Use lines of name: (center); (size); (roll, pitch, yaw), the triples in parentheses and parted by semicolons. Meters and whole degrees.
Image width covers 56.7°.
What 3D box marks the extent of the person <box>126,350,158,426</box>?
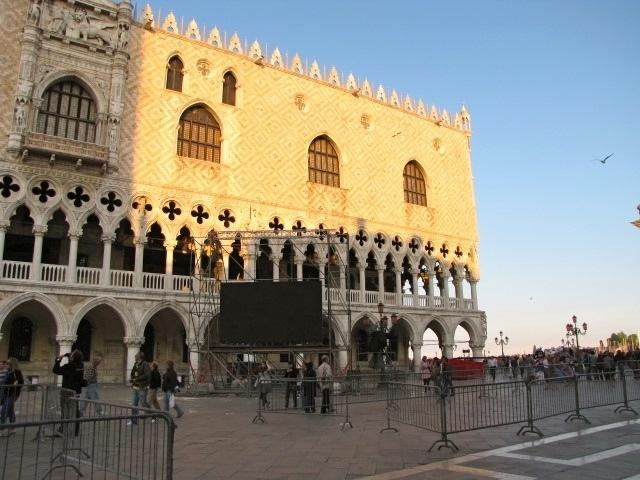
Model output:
person: (-4.722, 3.751, 15.603); (0.508, 1.557, 1.244); (3, -14, -17)
